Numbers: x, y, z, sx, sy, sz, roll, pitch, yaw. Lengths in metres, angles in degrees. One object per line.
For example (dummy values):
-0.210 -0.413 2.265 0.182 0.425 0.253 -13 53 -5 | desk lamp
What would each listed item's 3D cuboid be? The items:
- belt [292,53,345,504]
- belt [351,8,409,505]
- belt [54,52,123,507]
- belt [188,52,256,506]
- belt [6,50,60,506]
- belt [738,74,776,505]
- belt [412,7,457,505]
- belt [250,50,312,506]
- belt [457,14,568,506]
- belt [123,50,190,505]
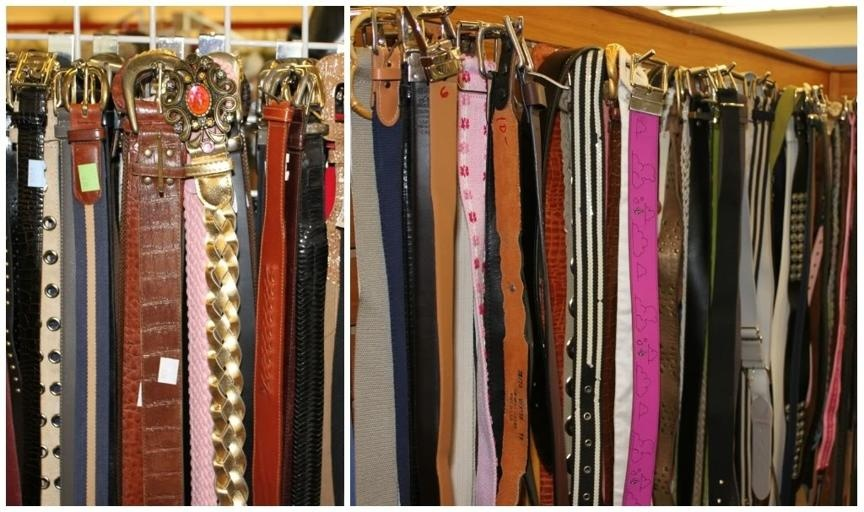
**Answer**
-0.241 0.084 3.228 0.099 0.916 0.034 2 3 6 | belt
-0.118 0.007 3.225 0.140 1.138 0.089 1 2 2 | belt
-0.793 0.067 3.233 0.137 1.022 0.053 0 2 -16 | belt
-0.487 0.085 3.264 0.083 1.115 0.122 1 1 44 | belt
-0.915 0.053 3.231 0.111 1.043 0.046 0 2 -18 | belt
0.761 0.080 3.316 0.077 1.007 0.083 1 2 12 | belt
-0.001 0.008 3.144 0.104 1.065 0.154 0 2 -26 | belt
-0.349 0.060 3.239 0.118 1.031 0.038 0 2 -6 | belt
0.178 0.004 3.212 0.194 1.258 0.182 -1 5 10 | belt
-0.644 0.053 3.236 0.152 1.046 0.044 0 2 -13 | belt
